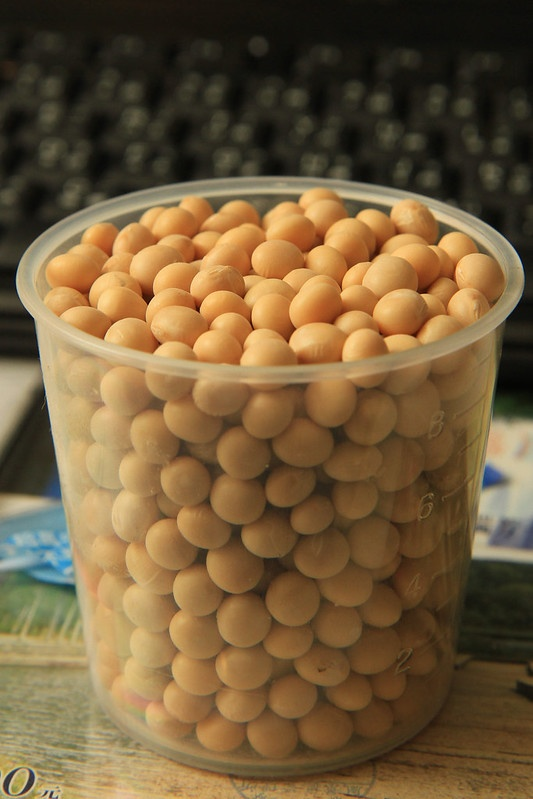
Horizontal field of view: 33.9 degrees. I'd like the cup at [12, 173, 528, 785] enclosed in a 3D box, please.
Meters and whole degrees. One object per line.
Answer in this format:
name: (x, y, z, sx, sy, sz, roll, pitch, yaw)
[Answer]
cup: (-0.006, 0.005, 0.506, 0.280, 0.231, 0.268, 0, 22, 0)
